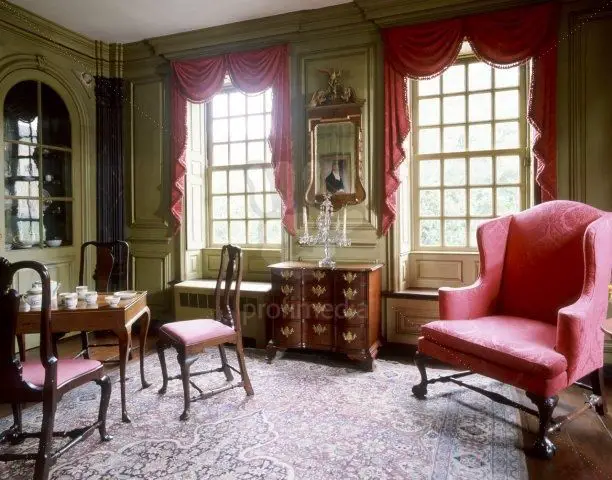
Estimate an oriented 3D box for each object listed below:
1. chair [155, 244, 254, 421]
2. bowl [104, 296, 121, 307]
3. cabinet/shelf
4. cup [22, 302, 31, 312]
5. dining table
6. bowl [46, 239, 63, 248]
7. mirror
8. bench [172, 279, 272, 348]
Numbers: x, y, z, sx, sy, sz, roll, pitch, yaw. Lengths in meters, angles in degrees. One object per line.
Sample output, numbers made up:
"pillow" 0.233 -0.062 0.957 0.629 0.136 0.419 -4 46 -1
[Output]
"chair" -0.791 0.655 3.564 0.780 1.176 0.832 1 3 13
"bowl" -1.344 0.426 3.191 0.067 0.038 0.073 1 -5 0
"cabinet/shelf" 0.168 0.664 4.247 0.934 0.931 0.581 1 2 17
"cup" -1.857 0.450 3.052 0.045 0.058 0.050 -1 2 0
"dining table" -1.610 0.701 3.363 0.610 0.611 0.768 3 -3 10
"bowl" -2.622 0.035 4.802 0.035 0.079 0.176 5 12 26
"mirror" 0.290 -0.784 4.528 0.612 1.034 0.047 1 10 17
"bench" -0.755 0.865 4.906 1.132 0.796 0.691 -6 -10 31
